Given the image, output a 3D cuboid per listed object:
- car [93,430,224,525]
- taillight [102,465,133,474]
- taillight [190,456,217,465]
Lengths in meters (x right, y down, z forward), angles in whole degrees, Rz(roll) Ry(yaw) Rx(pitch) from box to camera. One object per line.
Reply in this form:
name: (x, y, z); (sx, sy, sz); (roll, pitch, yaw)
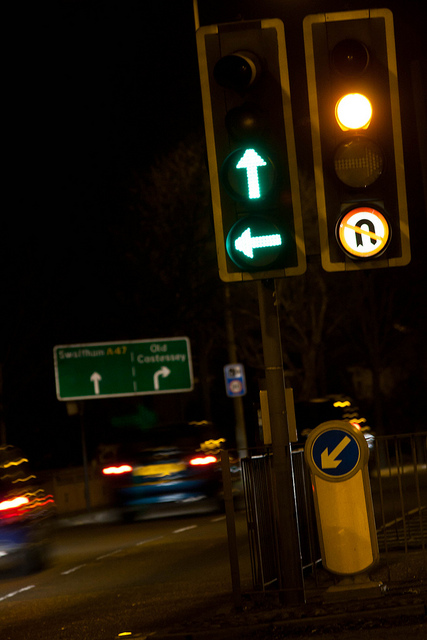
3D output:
car: (-0.685, 3.079, 14.315); (1.954, 1.203, 3.676); (-1, -1, 8)
taillight: (-1.737, 2.693, 12.926); (0.626, 0.165, 0.175); (-18, -13, 39)
taillight: (-0.184, 2.452, 12.517); (0.580, 0.154, 0.164); (0, -13, -25)
